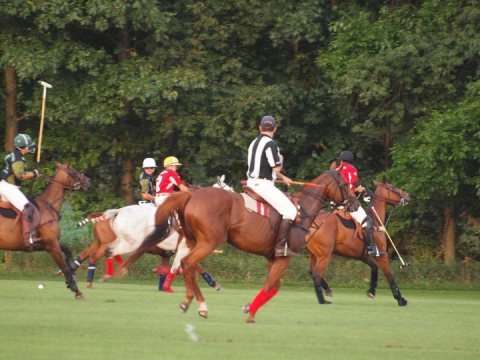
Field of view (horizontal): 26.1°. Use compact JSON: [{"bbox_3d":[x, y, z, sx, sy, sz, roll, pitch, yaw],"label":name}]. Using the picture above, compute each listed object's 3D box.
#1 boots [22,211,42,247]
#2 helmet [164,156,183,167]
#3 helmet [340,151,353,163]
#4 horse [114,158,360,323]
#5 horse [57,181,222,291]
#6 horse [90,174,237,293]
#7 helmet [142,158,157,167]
[{"bbox_3d":[-5.032,1.119,24.583,0.390,0.843,0.171,4,-5,-34],"label":"boots"},{"bbox_3d":[-1.823,-0.499,26.880,0.566,0.211,0.358,0,2,-8],"label":"helmet"},{"bbox_3d":[2.645,-0.619,26.271,0.298,0.176,0.357,2,10,-29],"label":"helmet"},{"bbox_3d":[-0.092,1.466,23.657,6.379,3.456,1.369,3,5,-36],"label":"horse"},{"bbox_3d":[-2.490,1.531,27.225,1.276,2.566,5.402,-6,-10,37],"label":"horse"},{"bbox_3d":[-1.733,1.357,26.209,4.832,2.836,1.013,1,4,14],"label":"horse"},{"bbox_3d":[-2.555,-0.466,27.573,0.436,0.184,0.347,-3,-1,42],"label":"helmet"}]
